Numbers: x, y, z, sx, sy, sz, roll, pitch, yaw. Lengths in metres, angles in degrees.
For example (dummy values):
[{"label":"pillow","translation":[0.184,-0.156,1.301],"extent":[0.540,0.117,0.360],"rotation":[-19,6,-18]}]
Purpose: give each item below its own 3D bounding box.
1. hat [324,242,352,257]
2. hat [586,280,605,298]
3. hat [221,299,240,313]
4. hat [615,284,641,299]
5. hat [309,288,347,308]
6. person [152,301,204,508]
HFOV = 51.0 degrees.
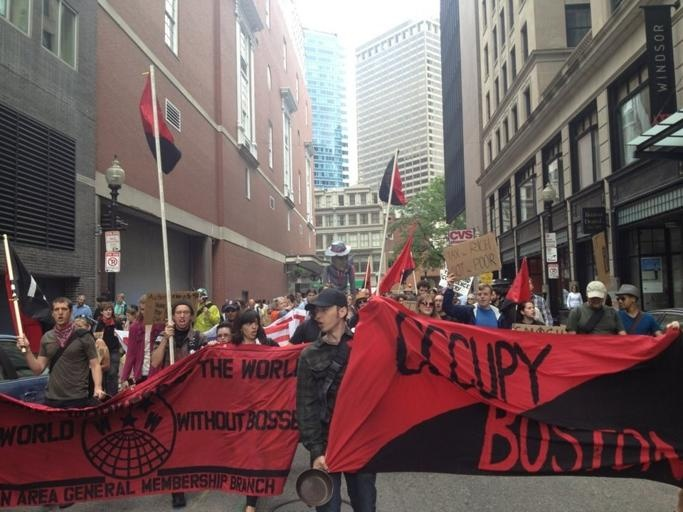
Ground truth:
[{"label":"hat","translation":[-0.022,-0.135,15.423],"extent":[0.356,0.174,0.409],"rotation":[1,21,28]},{"label":"hat","translation":[4.257,0.560,11.988],"extent":[0.222,0.226,0.397],"rotation":[-1,-10,16]},{"label":"hat","translation":[-2.010,0.909,13.063],"extent":[0.222,0.130,0.371],"rotation":[-1,-6,2]},{"label":"hat","translation":[4.854,0.595,12.164],"extent":[0.351,0.212,0.356],"rotation":[2,7,15]},{"label":"hat","translation":[-0.142,0.497,8.425],"extent":[0.309,0.185,0.238],"rotation":[6,-6,-5]},{"label":"person","translation":[-2.369,2.024,10.722],"extent":[0.800,2.608,1.440],"rotation":[-4,7,-30]}]
